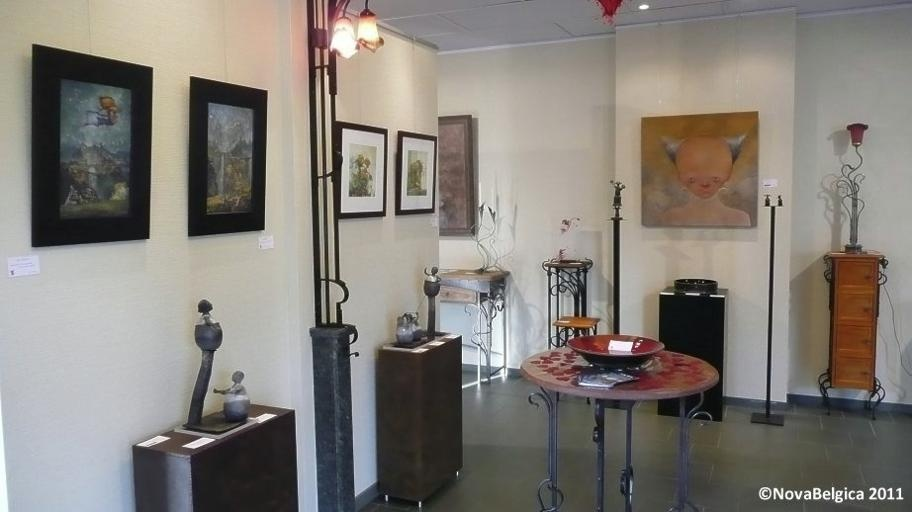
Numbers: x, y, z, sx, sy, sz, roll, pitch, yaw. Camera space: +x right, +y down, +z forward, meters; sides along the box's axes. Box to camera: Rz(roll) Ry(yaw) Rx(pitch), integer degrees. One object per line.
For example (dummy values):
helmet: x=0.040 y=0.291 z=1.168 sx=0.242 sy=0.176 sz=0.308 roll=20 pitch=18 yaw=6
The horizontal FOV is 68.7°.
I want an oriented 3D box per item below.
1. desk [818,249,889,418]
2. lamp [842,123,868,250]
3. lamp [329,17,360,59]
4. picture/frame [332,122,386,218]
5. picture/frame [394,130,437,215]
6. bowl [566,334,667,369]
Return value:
desk: x=4.490 y=0.835 z=7.537 sx=0.640 sy=1.906 sz=0.446 roll=0 pitch=3 yaw=21
lamp: x=4.490 y=-0.779 z=7.523 sx=0.289 sy=1.420 sz=0.342 roll=0 pitch=3 yaw=22
lamp: x=-0.877 y=-1.710 z=5.218 sx=0.206 sy=0.309 sz=0.247 roll=-2 pitch=3 yaw=-10
picture/frame: x=-0.880 y=-0.781 z=5.905 sx=0.039 sy=0.929 sz=0.968 roll=1 pitch=2 yaw=27
picture/frame: x=-0.414 y=-0.836 z=6.535 sx=0.079 sy=0.999 sz=0.924 roll=2 pitch=3 yaw=30
bowl: x=1.334 y=0.800 z=5.621 sx=0.759 sy=0.204 sz=0.566 roll=0 pitch=3 yaw=21
